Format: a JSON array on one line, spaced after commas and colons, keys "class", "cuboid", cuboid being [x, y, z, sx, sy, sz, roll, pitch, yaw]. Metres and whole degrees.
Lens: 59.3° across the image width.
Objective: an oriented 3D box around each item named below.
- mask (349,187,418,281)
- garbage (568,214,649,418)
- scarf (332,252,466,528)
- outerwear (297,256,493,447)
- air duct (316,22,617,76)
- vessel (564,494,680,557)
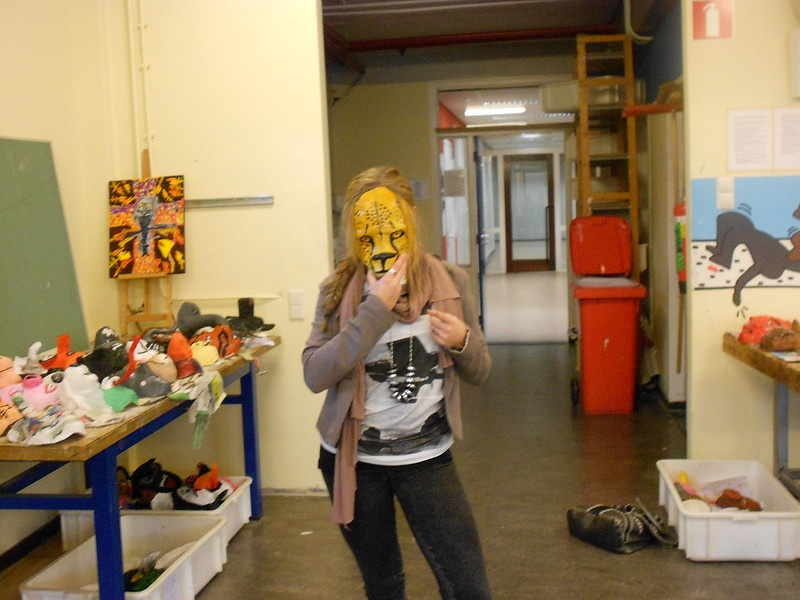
[{"class": "mask", "cuboid": [-0.078, -0.273, 2.572, 0.280, 0.318, 0.339, -5, 21, 6]}, {"class": "garbage", "cuboid": [1.639, 0.110, 5.585, 0.543, 1.507, 0.580, -1, 10, 13]}, {"class": "scarf", "cuboid": [-0.059, 0.323, 2.514, 0.507, 0.815, 0.194, 0, 0, 5]}, {"class": "outerwear", "cuboid": [-0.104, 0.184, 2.599, 0.872, 0.820, 0.571, -1, -6, 2]}, {"class": "air duct", "cuboid": [0.590, -2.836, 7.717, 2.077, 0.498, 1.155, -2, 20, 8]}, {"class": "vessel", "cuboid": [1.095, 1.191, 3.779, 0.392, 0.138, 0.451, -7, -10, 33]}]
